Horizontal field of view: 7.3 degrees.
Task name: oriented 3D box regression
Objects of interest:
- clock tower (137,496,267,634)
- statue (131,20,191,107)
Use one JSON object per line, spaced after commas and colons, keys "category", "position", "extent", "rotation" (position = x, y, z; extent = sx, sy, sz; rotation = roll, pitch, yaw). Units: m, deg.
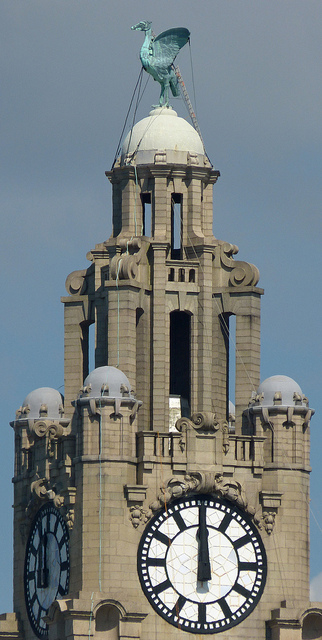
{"category": "clock tower", "position": [1.159, 6.833, 70.703], "extent": [3.482, 3.904, 0.339], "rotation": [4, -14, -17]}
{"category": "statue", "position": [-0.106, -7.745, 76.298], "extent": [1.374, 3.044, 2.278], "rotation": [-12, 19, -25]}
